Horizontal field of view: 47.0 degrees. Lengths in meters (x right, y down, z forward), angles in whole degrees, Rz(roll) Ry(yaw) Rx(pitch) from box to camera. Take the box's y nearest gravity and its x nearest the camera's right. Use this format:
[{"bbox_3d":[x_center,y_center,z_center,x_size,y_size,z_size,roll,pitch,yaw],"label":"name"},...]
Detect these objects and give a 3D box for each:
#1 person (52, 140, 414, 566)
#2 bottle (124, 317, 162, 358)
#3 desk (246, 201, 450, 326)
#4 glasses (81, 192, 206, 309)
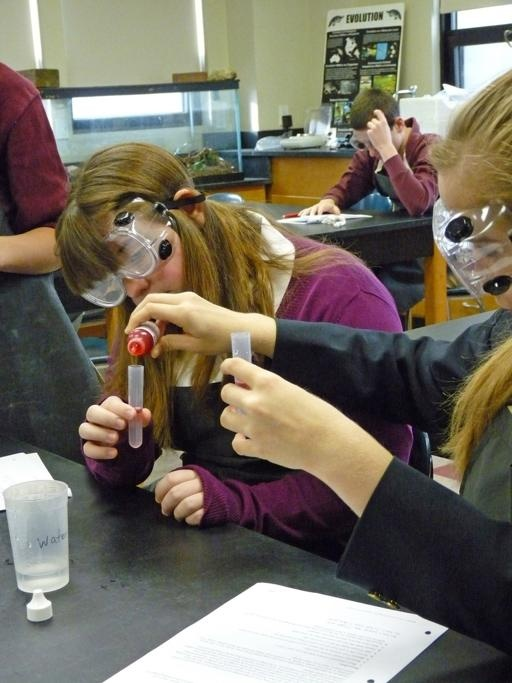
[{"bbox_3d":[-0.060,0.018,1.385,0.769,0.843,0.829,-7,2,-32],"label":"person"},{"bbox_3d":[-0.178,-0.001,0.918,0.029,0.031,0.091,-11,9,7],"label":"bottle"},{"bbox_3d":[0.472,-0.284,3.372,1.031,0.888,0.761,7,15,39],"label":"desk"},{"bbox_3d":[-0.195,-0.177,1.075,0.215,0.083,0.165,-39,0,-30],"label":"glasses"}]
